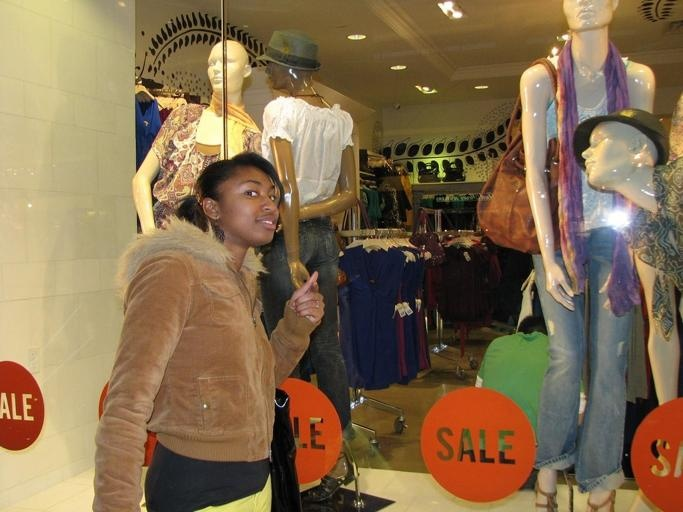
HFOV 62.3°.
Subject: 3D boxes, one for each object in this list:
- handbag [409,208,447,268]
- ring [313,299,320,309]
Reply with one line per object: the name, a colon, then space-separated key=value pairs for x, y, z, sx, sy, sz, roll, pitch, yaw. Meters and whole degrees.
handbag: x=0.381 y=-0.097 z=2.379 sx=0.148 sy=0.228 sz=0.125 roll=8 pitch=1 yaw=26
ring: x=-0.080 y=0.157 z=1.878 sx=0.016 sy=0.024 sz=0.008 roll=2 pitch=-1 yaw=-20
